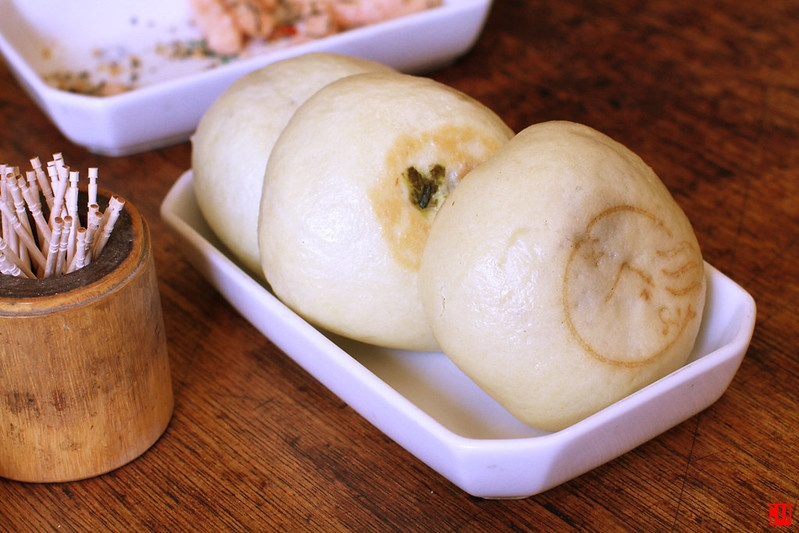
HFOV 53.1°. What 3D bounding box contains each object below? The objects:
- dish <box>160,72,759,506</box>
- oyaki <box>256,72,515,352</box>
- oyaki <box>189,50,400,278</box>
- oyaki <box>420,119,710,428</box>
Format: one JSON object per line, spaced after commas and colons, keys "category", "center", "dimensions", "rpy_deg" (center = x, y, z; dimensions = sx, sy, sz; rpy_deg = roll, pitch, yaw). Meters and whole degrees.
{"category": "dish", "center": [0.007, 0.005, 0.693], "dimensions": [0.274, 0.086, 0.421], "rpy_deg": [-32, 51, -32]}
{"category": "oyaki", "center": [-0.036, -0.061, 0.748], "dimensions": [0.247, 0.131, 0.247], "rpy_deg": [6, 89, -7]}
{"category": "oyaki", "center": [-0.117, -0.116, 0.933], "dimensions": [0.217, 0.123, 0.223], "rpy_deg": [11, 80, 10]}
{"category": "oyaki", "center": [0.156, 0.008, 0.733], "dimensions": [0.248, 0.160, 0.231], "rpy_deg": [37, 58, 19]}
